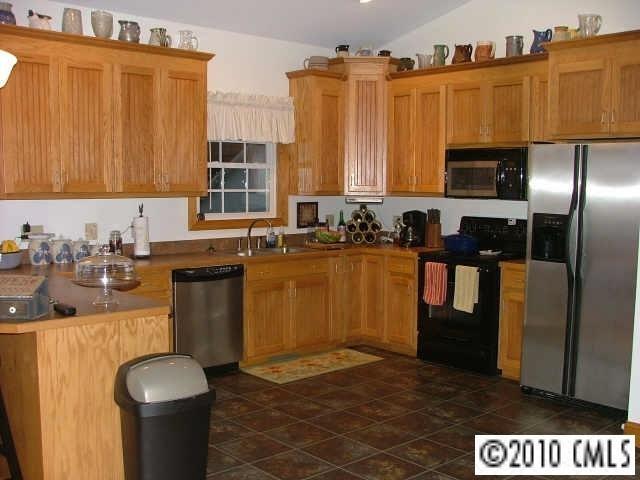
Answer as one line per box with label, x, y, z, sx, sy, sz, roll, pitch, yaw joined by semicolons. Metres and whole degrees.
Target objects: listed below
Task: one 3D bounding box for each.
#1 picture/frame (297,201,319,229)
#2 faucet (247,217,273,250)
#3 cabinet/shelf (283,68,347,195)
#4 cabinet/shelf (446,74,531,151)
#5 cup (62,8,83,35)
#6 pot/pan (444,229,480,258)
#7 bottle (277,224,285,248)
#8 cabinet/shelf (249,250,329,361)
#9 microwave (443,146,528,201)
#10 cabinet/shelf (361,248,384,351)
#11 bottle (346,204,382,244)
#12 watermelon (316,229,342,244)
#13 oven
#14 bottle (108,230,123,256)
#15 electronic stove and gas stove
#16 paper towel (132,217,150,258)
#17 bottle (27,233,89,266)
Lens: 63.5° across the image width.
picture/frame;-0.166;-0.300;6.174;0.359;0.324;0.024;-3;3;-40
faucet;-0.669;-0.067;5.690;0.285;0.335;0.504;-2;6;-5
cabinet/shelf;-0.040;-1.196;5.831;0.651;1.365;0.278;-2;6;3
cabinet/shelf;1.695;-1.253;5.090;0.379;0.659;0.984;-4;7;-45
cup;-2.061;-1.788;4.264;0.152;0.262;0.238;-5;6;-25
pot/pan;1.464;0.043;5.287;0.266;0.165;0.256;-4;6;-28
bottle;-0.451;-0.048;5.874;0.087;0.232;0.302;-2;6;-4
cabinet/shelf;-0.351;0.658;5.262;1.203;0.971;0.471;-3;4;-39
microwave;1.652;-0.659;5.105;0.882;0.515;0.530;4;4;39
cabinet/shelf;0.590;0.615;5.751;0.306;0.967;0.083;3;8;41
bottle;0.512;-0.151;6.181;0.341;0.481;0.213;-4;-17;2
watermelon;0.095;-0.036;5.992;0.228;0.108;0.195;2;-1;-15
oven;1.546;0.738;5.313;0.811;1.032;0.862;0;1;-42
bottle;-1.897;0.027;4.770;0.115;0.230;0.286;-4;6;-20
electronic stove and gas stove;1.652;-0.024;5.324;0.579;0.485;0.820;-2;4;-36
paper towel;-1.706;-0.033;4.886;0.149;0.381;0.204;-4;6;-19
bottle;-2.285;0.067;4.503;0.485;0.260;0.304;-4;6;-24
